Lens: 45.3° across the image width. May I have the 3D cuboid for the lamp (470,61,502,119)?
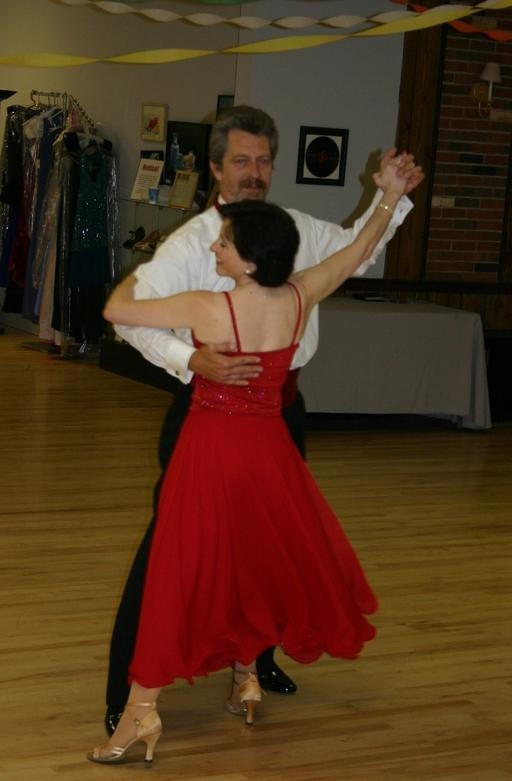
[{"bbox_3d":[2.022,-2.571,5.337,0.274,0.429,0.132,2,7,-9],"label":"lamp"}]

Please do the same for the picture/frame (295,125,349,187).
[{"bbox_3d":[0.526,-1.930,5.099,0.495,0.503,0.051,7,11,-24],"label":"picture/frame"}]

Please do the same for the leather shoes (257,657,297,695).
[{"bbox_3d":[0.047,0.763,1.679,0.144,0.095,0.051,-1,-1,45],"label":"leather shoes"}]

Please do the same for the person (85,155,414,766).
[{"bbox_3d":[-0.002,0.116,1.327,0.660,1.118,0.456,1,10,-24],"label":"person"}]
